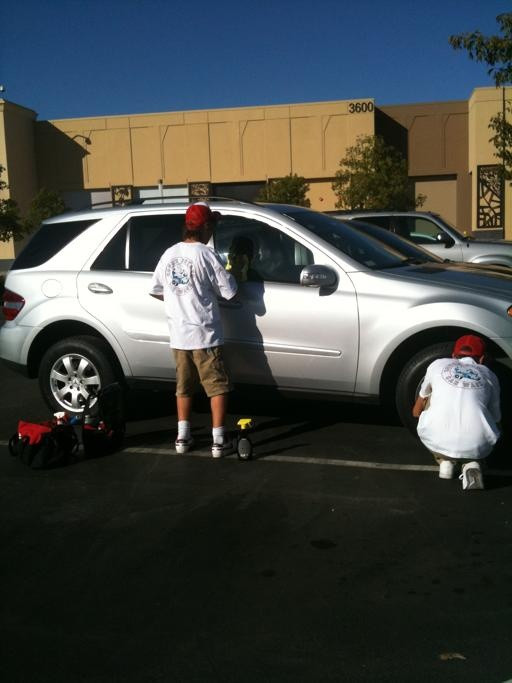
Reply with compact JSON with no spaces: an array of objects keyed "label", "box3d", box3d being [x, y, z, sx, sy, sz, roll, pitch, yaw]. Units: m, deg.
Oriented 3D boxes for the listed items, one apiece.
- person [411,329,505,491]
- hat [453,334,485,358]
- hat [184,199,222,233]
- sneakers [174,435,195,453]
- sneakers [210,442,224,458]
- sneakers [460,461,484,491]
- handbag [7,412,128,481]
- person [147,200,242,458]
[{"label":"person","box3d":[1.290,0.432,3.827,0.501,0.927,0.292,0,4,20]},{"label":"hat","box3d":[1.365,0.016,3.856,0.191,0.141,0.310,5,5,22]},{"label":"hat","box3d":[-0.406,-0.924,4.428,0.191,0.235,0.260,0,4,12]},{"label":"sneakers","box3d":[-0.566,0.805,4.613,0.071,0.069,0.180,0,7,7]},{"label":"sneakers","box3d":[-0.281,0.815,4.500,0.092,0.099,0.118,3,14,7]},{"label":"sneakers","box3d":[1.341,0.829,3.710,0.132,0.157,0.219,0,4,18]},{"label":"handbag","box3d":[-1.444,0.750,4.579,0.463,0.265,0.596,3,9,14]},{"label":"person","box3d":[-0.444,-0.067,4.443,0.652,1.898,0.324,-1,4,9]}]
